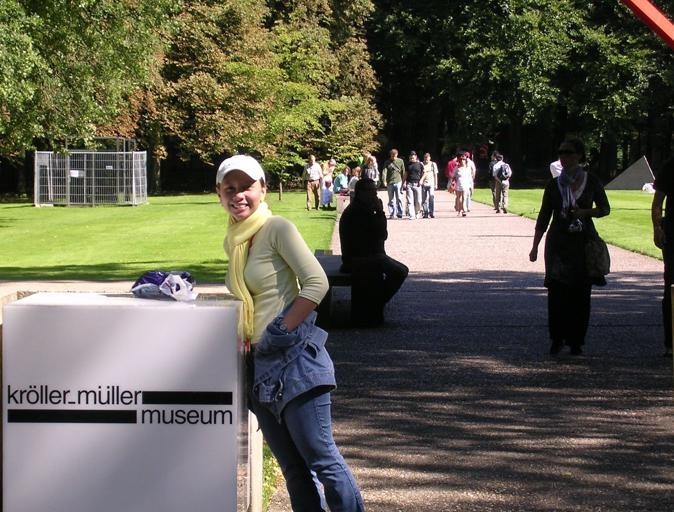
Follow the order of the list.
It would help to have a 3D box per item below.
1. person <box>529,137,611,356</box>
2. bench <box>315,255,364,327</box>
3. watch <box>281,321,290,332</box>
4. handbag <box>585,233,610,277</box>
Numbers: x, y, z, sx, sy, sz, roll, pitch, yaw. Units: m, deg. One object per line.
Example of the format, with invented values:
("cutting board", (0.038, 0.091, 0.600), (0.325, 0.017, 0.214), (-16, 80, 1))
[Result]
("person", (2.279, -0.105, 10.819), (0.754, 2.104, 0.672), (3, 5, 14))
("bench", (0.034, 0.506, 12.984), (0.506, 0.711, 0.699), (1, 5, -10))
("watch", (-0.296, 0.387, 6.092), (0.032, 0.053, 0.047), (-12, 2, -8))
("handbag", (2.507, -0.012, 10.572), (0.193, 0.412, 0.290), (5, 6, 30))
